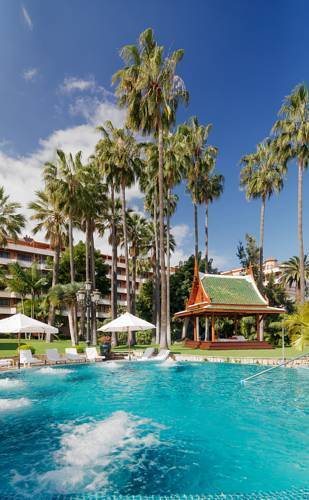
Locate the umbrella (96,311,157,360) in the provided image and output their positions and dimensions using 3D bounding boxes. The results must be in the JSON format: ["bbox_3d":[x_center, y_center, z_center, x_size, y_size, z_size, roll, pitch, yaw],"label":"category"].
[{"bbox_3d":[-1.503,4.944,20.958,2.508,2.633,3.141,-2,-8,4],"label":"umbrella"}]

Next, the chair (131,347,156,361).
[{"bbox_3d":[-0.550,6.032,21.094,0.612,0.573,1.084,-18,-25,41],"label":"chair"}]

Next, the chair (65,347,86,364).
[{"bbox_3d":[-4.412,5.758,19.937,0.687,0.835,1.013,9,-13,-39],"label":"chair"}]

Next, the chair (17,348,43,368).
[{"bbox_3d":[-6.141,5.302,17.906,0.706,0.880,1.071,8,-16,-39],"label":"chair"}]

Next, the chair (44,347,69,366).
[{"bbox_3d":[-5.183,5.402,18.873,0.775,0.992,1.048,12,-14,-39],"label":"chair"}]

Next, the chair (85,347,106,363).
[{"bbox_3d":[-3.431,5.869,20.455,0.679,0.867,0.983,7,-7,-35],"label":"chair"}]
